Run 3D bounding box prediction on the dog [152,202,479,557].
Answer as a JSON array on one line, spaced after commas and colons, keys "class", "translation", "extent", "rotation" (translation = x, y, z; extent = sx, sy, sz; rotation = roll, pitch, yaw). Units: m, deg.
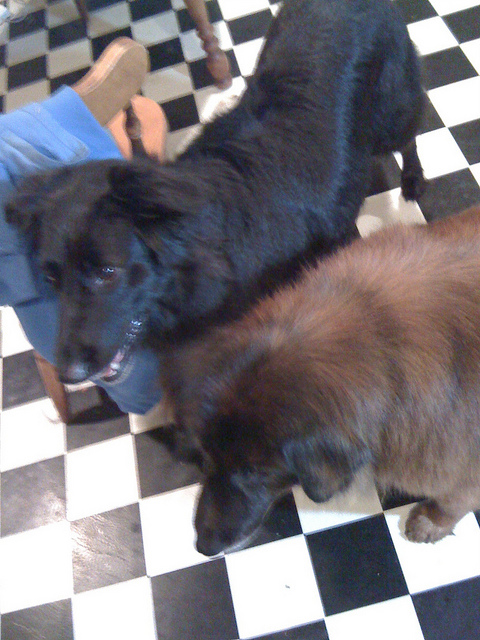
[{"class": "dog", "translation": [0.235, 0.212, 1.704], "extent": [0.813, 0.728, 0.582], "rotation": [-17, 55, -2]}]
